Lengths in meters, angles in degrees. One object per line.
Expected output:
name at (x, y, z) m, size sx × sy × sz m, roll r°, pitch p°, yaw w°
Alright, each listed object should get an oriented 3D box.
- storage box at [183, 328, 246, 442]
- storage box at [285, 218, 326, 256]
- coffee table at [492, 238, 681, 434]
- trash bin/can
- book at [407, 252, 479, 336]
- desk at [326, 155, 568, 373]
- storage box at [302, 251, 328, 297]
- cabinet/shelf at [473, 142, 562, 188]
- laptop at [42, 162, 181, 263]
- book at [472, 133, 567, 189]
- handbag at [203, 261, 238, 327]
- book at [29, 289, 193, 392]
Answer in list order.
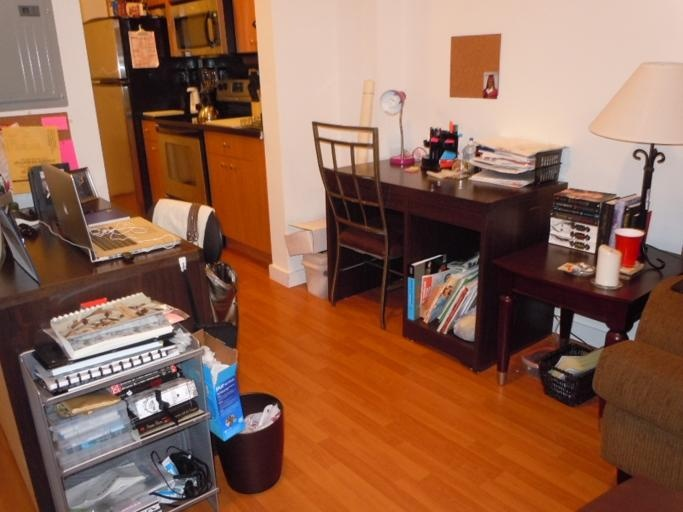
storage box at (-0.483, 0.495, 1.896) m, size 0.163 × 0.469 × 0.286 m, roll -20°, pitch 34°, yaw -29°
storage box at (-0.237, -0.108, 3.512) m, size 0.203 × 0.145 × 0.285 m, roll 16°, pitch 25°, yaw 38°
coffee table at (1.174, 0.384, 2.550) m, size 0.688 × 0.668 × 0.681 m, roll -16°, pitch 23°, yaw -35°
trash bin/can at (-0.345, 0.774, 2.204) m, size 0.317 × 0.320 × 0.367 m, roll -4°, pitch 15°, yaw -5°
book at (0.574, 0.231, 2.860) m, size 0.153 × 0.491 × 0.340 m, roll 1°, pitch 7°, yaw -25°
desk at (0.584, -0.048, 3.191) m, size 0.728 × 0.970 × 1.212 m, roll -20°, pitch 27°, yaw -39°
storage box at (-0.177, 0.132, 3.541) m, size 0.211 × 0.286 × 0.201 m, roll 14°, pitch 22°, yaw 37°
cabinet/shelf at (0.993, -0.560, 2.773) m, size 0.299 × 0.182 × 0.363 m, roll 20°, pitch 25°, yaw 38°
laptop at (-0.935, -0.069, 2.107) m, size 0.423 × 0.355 × 0.609 m, roll -10°, pitch 23°, yaw -33°
book at (0.991, -0.510, 2.802) m, size 0.309 × 0.189 × 0.376 m, roll 20°, pitch 23°, yaw 39°
handbag at (-0.540, 0.183, 2.254) m, size 0.109 × 0.267 × 0.149 m, roll -8°, pitch 39°, yaw -12°
book at (-0.758, 0.276, 1.669) m, size 0.340 × 0.125 × 0.293 m, roll -17°, pitch 26°, yaw -40°
